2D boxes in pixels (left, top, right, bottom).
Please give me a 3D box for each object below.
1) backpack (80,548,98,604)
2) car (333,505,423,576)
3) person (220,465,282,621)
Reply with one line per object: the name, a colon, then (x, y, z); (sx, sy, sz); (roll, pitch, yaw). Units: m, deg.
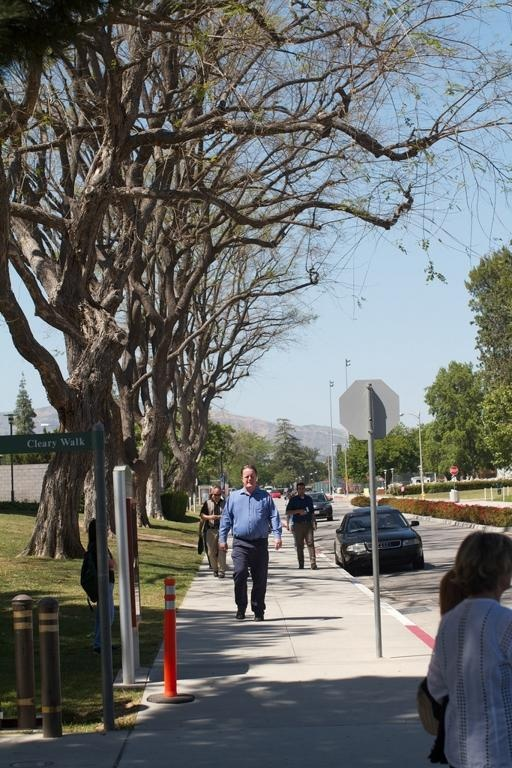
backpack: (-1.704, 1.944, 8.901); (0.144, 0.521, 0.310); (2, -6, -14)
car: (2.524, 3.357, 18.889); (1.160, 0.844, 2.511); (-1, -11, -1)
person: (-0.096, 2.048, 11.211); (0.688, 1.950, 0.853); (3, -6, -23)
